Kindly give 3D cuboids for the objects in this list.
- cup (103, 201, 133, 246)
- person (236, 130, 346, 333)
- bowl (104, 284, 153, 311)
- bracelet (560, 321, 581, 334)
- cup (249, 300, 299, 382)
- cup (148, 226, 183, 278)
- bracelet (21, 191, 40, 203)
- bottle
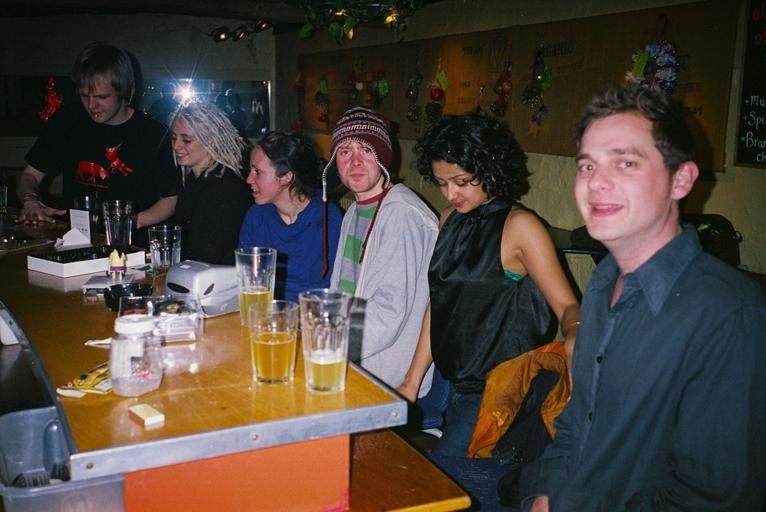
[{"bbox_3d":[-1.466,-0.176,3.355,0.137,0.247,0.269,-5,8,-24],"label":"cup"},{"bbox_3d":[-0.587,-0.306,4.097,0.921,1.367,0.905,1,6,-15],"label":"person"},{"bbox_3d":[-1.092,0.154,2.568,0.176,0.081,0.198,2,6,-5],"label":"bowl"},{"bbox_3d":[0.767,0.291,2.464,0.057,0.026,0.076,-6,-22,-28],"label":"bracelet"},{"bbox_3d":[-0.357,0.287,2.006,0.165,0.255,0.150,-2,8,0],"label":"cup"},{"bbox_3d":[-1.079,-0.031,3.001,0.139,0.229,0.208,-5,8,-22],"label":"cup"},{"bbox_3d":[-2.533,-0.416,4.339,0.104,0.066,0.142,4,4,-23],"label":"bracelet"},{"bbox_3d":[-0.789,0.314,1.934,0.105,0.250,0.157,6,11,45],"label":"bottle"}]
